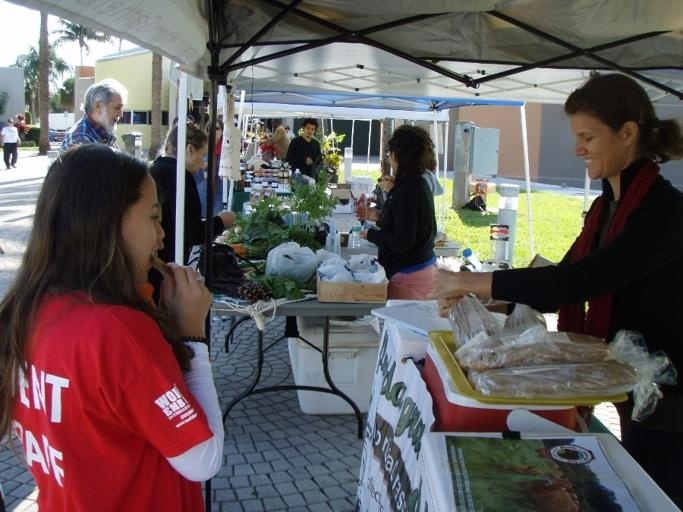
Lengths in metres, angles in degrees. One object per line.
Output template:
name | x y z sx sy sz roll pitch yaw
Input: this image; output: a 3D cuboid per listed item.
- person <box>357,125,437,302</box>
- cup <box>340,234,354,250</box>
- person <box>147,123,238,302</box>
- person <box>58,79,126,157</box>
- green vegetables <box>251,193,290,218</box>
person | 0.471 0.067 4.465 0.736 2.142 0.773 2 12 10
cup | 0.065 -0.143 5.060 0.140 0.132 0.134 2 3 0
person | -1.089 -0.444 3.792 0.851 1.330 0.671 4 17 -2
person | -2.165 -1.176 4.699 0.456 0.742 0.787 7 19 -17
green vegetables | -0.650 -0.464 4.814 0.417 0.200 0.389 -1 20 -1
